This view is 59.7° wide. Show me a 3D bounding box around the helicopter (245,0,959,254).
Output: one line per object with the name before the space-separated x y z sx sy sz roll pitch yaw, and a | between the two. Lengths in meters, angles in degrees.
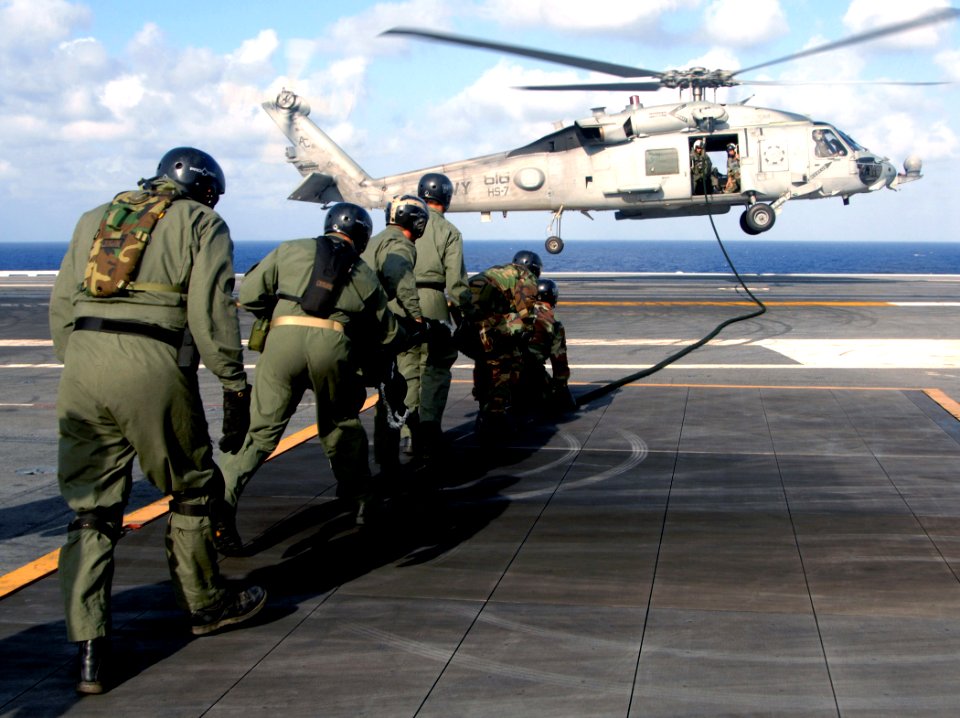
helicopter | 3.018 -6.596 27.722 20.421 4.208 12.858 -1 21 8

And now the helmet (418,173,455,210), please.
helmet | -0.452 -1.572 7.763 0.401 0.283 0.402 7 18 19

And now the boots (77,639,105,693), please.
boots | -1.716 1.356 3.715 0.137 0.223 0.128 -5 13 -15

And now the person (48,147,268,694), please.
person | -1.589 0.182 4.057 0.908 2.435 1.276 -5 13 -13

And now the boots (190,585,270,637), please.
boots | -1.251 1.260 4.206 0.467 0.155 0.163 -17 33 -26
